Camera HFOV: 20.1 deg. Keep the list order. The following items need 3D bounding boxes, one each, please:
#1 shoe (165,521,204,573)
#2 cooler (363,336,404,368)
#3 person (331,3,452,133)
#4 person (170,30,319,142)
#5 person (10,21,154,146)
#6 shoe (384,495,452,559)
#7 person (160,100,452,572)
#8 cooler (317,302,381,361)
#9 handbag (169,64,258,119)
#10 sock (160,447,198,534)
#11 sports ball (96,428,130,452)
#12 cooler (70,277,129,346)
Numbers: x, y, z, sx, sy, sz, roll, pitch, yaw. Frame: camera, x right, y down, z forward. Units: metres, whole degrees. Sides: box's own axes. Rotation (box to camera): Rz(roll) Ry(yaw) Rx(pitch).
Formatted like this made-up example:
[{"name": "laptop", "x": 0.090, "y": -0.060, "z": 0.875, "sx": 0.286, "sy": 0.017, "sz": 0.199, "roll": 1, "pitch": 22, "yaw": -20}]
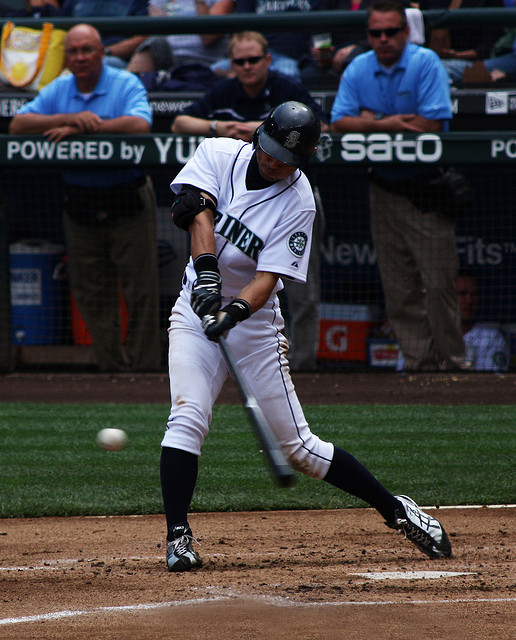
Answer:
[{"name": "shoe", "x": -0.285, "y": 0.857, "z": 5.430, "sx": 0.124, "sy": 0.141, "sz": 0.331, "roll": -10, "pitch": 3, "yaw": -16}, {"name": "cooler", "x": 0.701, "y": 0.186, "z": 8.233, "sx": 0.222, "sy": 0.207, "sz": 0.153, "roll": -1, "pitch": 4, "yaw": 4}, {"name": "person", "x": 0.719, "y": -1.334, "z": 7.735, "sx": 0.623, "sy": 0.752, "sz": 0.480, "roll": 13, "pitch": 40, "yaw": 26}, {"name": "person", "x": -0.104, "y": -1.223, "z": 7.589, "sx": 1.001, "sy": 0.679, "sz": 0.557, "roll": 4, "pitch": 19, "yaw": 11}, {"name": "person", "x": -0.936, "y": -1.251, "z": 7.687, "sx": 0.735, "sy": 0.625, "sz": 0.274, "roll": -2, "pitch": 15, "yaw": -9}, {"name": "shoe", "x": 0.598, "y": 0.793, "z": 5.587, "sx": 0.327, "sy": 0.112, "sz": 0.151, "roll": 42, "pitch": 25, "yaw": 31}, {"name": "person", "x": 0.170, "y": 0.061, "z": 5.609, "sx": 0.908, "sy": 1.683, "sz": 0.742, "roll": 1, "pitch": 2, "yaw": 27}, {"name": "cooler", "x": 0.514, "y": 0.054, "z": 8.356, "sx": 0.342, "sy": 0.320, "sz": 0.340, "roll": 2, "pitch": 2, "yaw": 2}, {"name": "handbag", "x": -0.285, "y": -1.260, "z": 8.017, "sx": 0.324, "sy": 0.137, "sz": 0.535, "roll": -7, "pitch": 17, "yaw": -19}, {"name": "sock", "x": -0.304, "y": 0.631, "z": 5.393, "sx": 0.145, "sy": 0.317, "sz": 0.148, "roll": 2, "pitch": 15, "yaw": 6}, {"name": "sports ball", "x": -0.618, "y": 0.502, "z": 6.153, "sx": 0.120, "sy": 0.076, "sz": 0.117, "roll": 2, "pitch": -9, "yaw": 0}, {"name": "cooler", "x": -0.910, "y": -0.035, "z": 8.137, "sx": 0.280, "sy": 0.388, "sz": 0.160, "roll": -10, "pitch": 19, "yaw": -20}]
